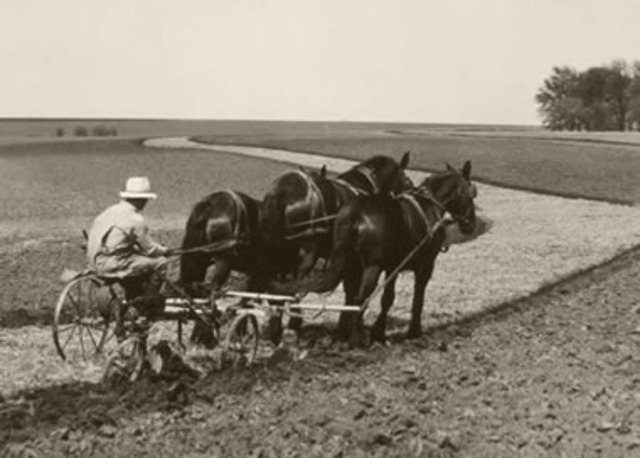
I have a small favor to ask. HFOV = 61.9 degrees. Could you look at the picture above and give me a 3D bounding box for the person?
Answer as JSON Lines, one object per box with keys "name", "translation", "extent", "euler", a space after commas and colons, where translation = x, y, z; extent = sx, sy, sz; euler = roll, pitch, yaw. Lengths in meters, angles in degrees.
{"name": "person", "translation": [-2.781, -0.022, 7.670], "extent": [1.124, 1.422, 0.368], "euler": [0, 7, -2]}
